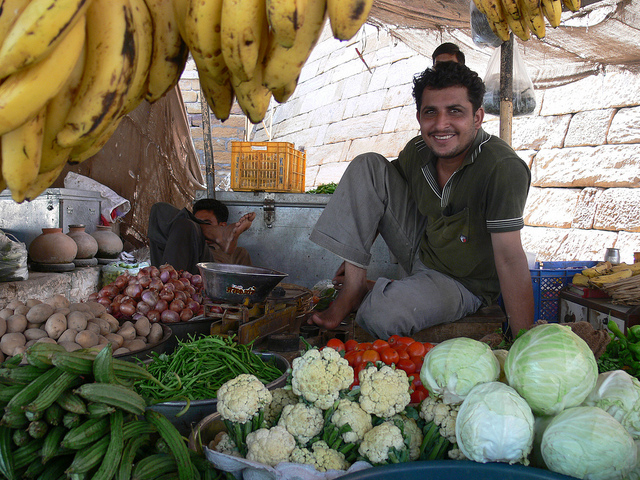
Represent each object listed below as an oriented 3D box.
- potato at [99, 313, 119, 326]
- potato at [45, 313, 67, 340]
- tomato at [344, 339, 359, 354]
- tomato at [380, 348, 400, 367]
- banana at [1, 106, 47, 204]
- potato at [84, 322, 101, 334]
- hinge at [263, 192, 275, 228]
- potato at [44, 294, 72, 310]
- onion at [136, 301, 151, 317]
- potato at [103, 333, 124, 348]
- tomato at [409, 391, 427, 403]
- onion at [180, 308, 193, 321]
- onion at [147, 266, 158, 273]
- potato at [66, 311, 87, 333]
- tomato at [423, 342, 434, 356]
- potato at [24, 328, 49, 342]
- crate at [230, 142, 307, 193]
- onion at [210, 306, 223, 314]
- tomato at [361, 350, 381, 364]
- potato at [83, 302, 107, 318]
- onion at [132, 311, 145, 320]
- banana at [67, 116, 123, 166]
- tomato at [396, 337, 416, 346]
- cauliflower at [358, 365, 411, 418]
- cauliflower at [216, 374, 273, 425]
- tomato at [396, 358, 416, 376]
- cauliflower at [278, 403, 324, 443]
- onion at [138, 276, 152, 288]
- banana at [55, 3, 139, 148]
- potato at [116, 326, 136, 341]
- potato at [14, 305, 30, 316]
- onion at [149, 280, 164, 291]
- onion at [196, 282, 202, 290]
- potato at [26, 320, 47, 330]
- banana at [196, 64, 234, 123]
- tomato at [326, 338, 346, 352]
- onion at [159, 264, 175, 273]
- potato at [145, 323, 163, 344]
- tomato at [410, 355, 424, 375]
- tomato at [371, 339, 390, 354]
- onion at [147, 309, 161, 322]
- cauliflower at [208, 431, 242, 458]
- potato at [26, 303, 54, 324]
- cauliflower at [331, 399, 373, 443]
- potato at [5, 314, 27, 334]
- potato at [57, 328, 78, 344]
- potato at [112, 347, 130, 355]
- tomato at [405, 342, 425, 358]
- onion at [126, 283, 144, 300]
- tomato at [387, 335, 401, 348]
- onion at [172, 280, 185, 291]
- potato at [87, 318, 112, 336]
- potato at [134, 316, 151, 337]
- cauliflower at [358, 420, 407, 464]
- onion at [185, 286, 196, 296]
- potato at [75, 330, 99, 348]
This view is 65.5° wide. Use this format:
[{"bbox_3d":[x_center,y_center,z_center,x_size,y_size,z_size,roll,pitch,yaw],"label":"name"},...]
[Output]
[{"bbox_3d":[-1.070,0.398,2.543,0.096,0.049,0.053,33,-12,0],"label":"potato"},{"bbox_3d":[-1.243,0.400,2.374,0.077,0.115,0.066,9,-33,-9],"label":"potato"},{"bbox_3d":[0.131,0.450,2.108,0.039,0.041,0.042,15,-9,18],"label":"tomato"},{"bbox_3d":[0.263,0.434,1.870,0.053,0.055,0.055,2,15,-1],"label":"tomato"},{"bbox_3d":[-0.693,-0.199,1.165,0.069,0.227,0.099,-1,11,-23],"label":"banana"},{"bbox_3d":[-1.078,0.415,2.376,0.042,0.033,0.057,-5,19,-15],"label":"potato"},{"bbox_3d":[-0.494,-0.292,4.854,0.113,0.339,0.019,4,9,12],"label":"hinge"},{"bbox_3d":[-1.352,0.314,2.571,0.074,0.060,0.095,-2,6,-7],"label":"potato"},{"bbox_3d":[-0.956,0.375,2.715,0.060,0.066,0.065,-11,-4,-18],"label":"onion"},{"bbox_3d":[-0.975,0.466,2.379,0.043,0.050,0.087,-12,20,-28],"label":"potato"},{"bbox_3d":[0.343,0.552,1.742,0.046,0.057,0.049,5,-18,22],"label":"tomato"},{"bbox_3d":[-0.729,0.406,2.722,0.062,0.046,0.049,5,51,-33],"label":"onion"},{"bbox_3d":[-1.032,0.179,3.068,0.036,0.039,0.079,1,2,-7],"label":"onion"},{"bbox_3d":[-1.150,0.383,2.361,0.069,0.075,0.093,-3,19,-18],"label":"potato"},{"bbox_3d":[0.439,0.444,2.039,0.042,0.043,0.042,-3,2,-8],"label":"tomato"},{"bbox_3d":[-1.326,0.439,2.330,0.081,0.053,0.046,23,41,-19],"label":"potato"},{"bbox_3d":[-0.506,-0.722,4.970,0.740,0.493,0.473,0,9,-10],"label":"crate"},{"bbox_3d":[-0.535,0.357,2.577,0.064,0.031,0.033,0,9,-13],"label":"onion"},{"bbox_3d":[0.191,0.435,1.857,0.071,0.036,0.088,3,9,8],"label":"tomato"},{"bbox_3d":[-1.163,0.350,2.579,0.056,0.104,0.054,-41,34,-5],"label":"potato"},{"bbox_3d":[-0.964,0.397,2.661,0.046,0.037,0.047,4,-3,-32],"label":"onion"},{"bbox_3d":[-0.590,-0.306,1.317,0.214,0.078,0.038,-3,-14,31],"label":"banana"},{"bbox_3d":[0.355,0.421,2.078,0.086,0.043,0.089,-4,1,14],"label":"tomato"},{"bbox_3d":[0.215,0.502,1.644,0.172,0.134,0.093,-2,10,-25],"label":"cauliflower"},{"bbox_3d":[-0.250,0.492,1.595,0.156,0.059,0.186,29,38,28],"label":"cauliflower"},{"bbox_3d":[0.322,0.467,1.861,0.052,0.053,0.054,17,42,37],"label":"tomato"},{"bbox_3d":[-0.051,0.570,1.639,0.128,0.110,0.131,-2,5,-36],"label":"cauliflower"},{"bbox_3d":[-1.003,0.237,2.864,0.048,0.052,0.067,-2,-2,-2],"label":"onion"},{"bbox_3d":[-0.535,-0.392,1.179,0.116,0.396,0.146,1,10,-22],"label":"banana"},{"bbox_3d":[-0.950,0.455,2.446,0.070,0.055,0.055,0,10,40],"label":"potato"},{"bbox_3d":[-1.439,0.338,2.408,0.041,0.035,0.058,6,15,-11],"label":"potato"},{"bbox_3d":[-0.932,0.256,2.845,0.056,0.032,0.059,21,22,18],"label":"onion"},{"bbox_3d":[-0.764,0.289,3.152,0.040,0.016,0.041,3,27,-1],"label":"onion"},{"bbox_3d":[-1.356,0.406,2.385,0.077,0.045,0.038,-4,3,-26],"label":"potato"},{"bbox_3d":[-0.281,-0.396,1.431,0.060,0.060,0.205,41,-14,20],"label":"banana"},{"bbox_3d":[0.066,0.411,1.964,0.051,0.056,0.054,-33,-36,33],"label":"tomato"},{"bbox_3d":[-0.933,0.176,3.082,0.057,0.034,0.059,3,4,36],"label":"onion"},{"bbox_3d":[-0.830,0.475,2.517,0.069,0.096,0.051,10,-21,-26],"label":"potato"},{"bbox_3d":[0.380,0.470,1.921,0.059,0.066,0.063,12,-30,14],"label":"tomato"},{"bbox_3d":[0.241,0.423,1.996,0.048,0.053,0.046,-26,-21,-21],"label":"tomato"},{"bbox_3d":[-0.897,0.411,2.690,0.062,0.055,0.065,8,11,34],"label":"onion"},{"bbox_3d":[-0.303,0.652,1.592,0.068,0.030,0.062,19,5,-11],"label":"cauliflower"},{"bbox_3d":[-1.332,0.347,2.394,0.068,0.067,0.109,-7,9,31],"label":"potato"},{"bbox_3d":[0.104,0.567,1.578,0.115,0.039,0.112,43,51,10],"label":"cauliflower"},{"bbox_3d":[-1.424,0.388,2.357,0.063,0.052,0.087,4,24,12],"label":"potato"},{"bbox_3d":[-1.158,0.438,2.317,0.052,0.069,0.040,7,45,-47],"label":"potato"},{"bbox_3d":[-0.908,0.508,2.280,0.042,0.025,0.044,-8,-2,30],"label":"potato"},{"bbox_3d":[0.376,0.424,1.969,0.048,0.052,0.060,-32,-4,-13],"label":"tomato"},{"bbox_3d":[-1.046,0.289,2.817,0.092,0.082,0.080,1,9,-8],"label":"onion"},{"bbox_3d":[0.313,0.423,2.098,0.039,0.039,0.041,35,36,-26],"label":"tomato"},{"bbox_3d":[-0.828,0.271,2.926,0.064,0.050,0.131,1,9,-4],"label":"onion"},{"bbox_3d":[-1.072,0.414,2.443,0.114,0.067,0.058,21,32,33],"label":"potato"},{"bbox_3d":[-0.895,0.436,2.517,0.067,0.094,0.052,7,9,13],"label":"potato"},{"bbox_3d":[0.183,0.609,1.505,0.105,0.039,0.110,-7,40,40],"label":"cauliflower"},{"bbox_3d":[-0.767,0.302,2.948,0.043,0.026,0.048,9,11,17],"label":"onion"},{"bbox_3d":[-1.066,0.456,2.293,0.065,0.070,0.089,18,-2,26],"label":"potato"}]
